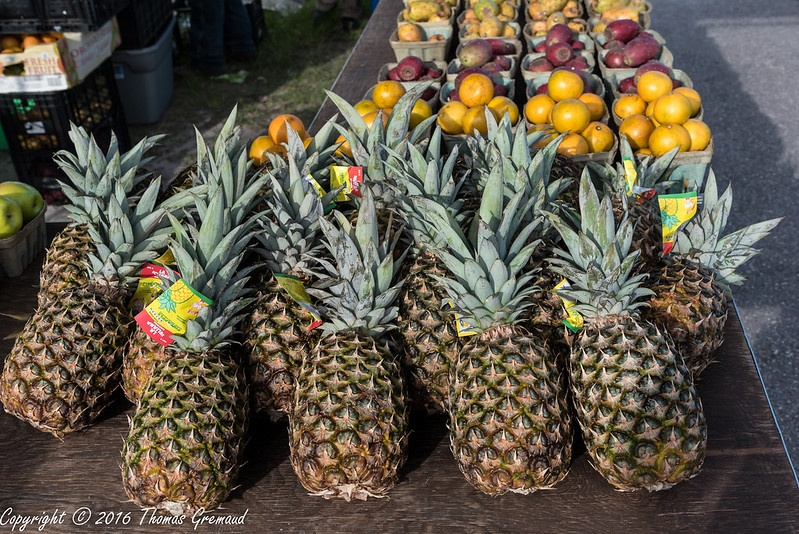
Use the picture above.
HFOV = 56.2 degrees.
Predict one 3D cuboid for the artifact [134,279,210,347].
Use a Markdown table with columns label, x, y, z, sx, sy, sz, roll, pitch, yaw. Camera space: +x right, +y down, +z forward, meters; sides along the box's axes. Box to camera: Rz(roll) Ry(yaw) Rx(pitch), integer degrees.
| label | x | y | z | sx | sy | sz | roll | pitch | yaw |
| --- | --- | --- | --- | --- | --- | --- | --- | --- | --- |
| artifact | -1.045 | 0.227 | 3.502 | 0.347 | 0.329 | 0.130 | -14 | 41 | -15 |
